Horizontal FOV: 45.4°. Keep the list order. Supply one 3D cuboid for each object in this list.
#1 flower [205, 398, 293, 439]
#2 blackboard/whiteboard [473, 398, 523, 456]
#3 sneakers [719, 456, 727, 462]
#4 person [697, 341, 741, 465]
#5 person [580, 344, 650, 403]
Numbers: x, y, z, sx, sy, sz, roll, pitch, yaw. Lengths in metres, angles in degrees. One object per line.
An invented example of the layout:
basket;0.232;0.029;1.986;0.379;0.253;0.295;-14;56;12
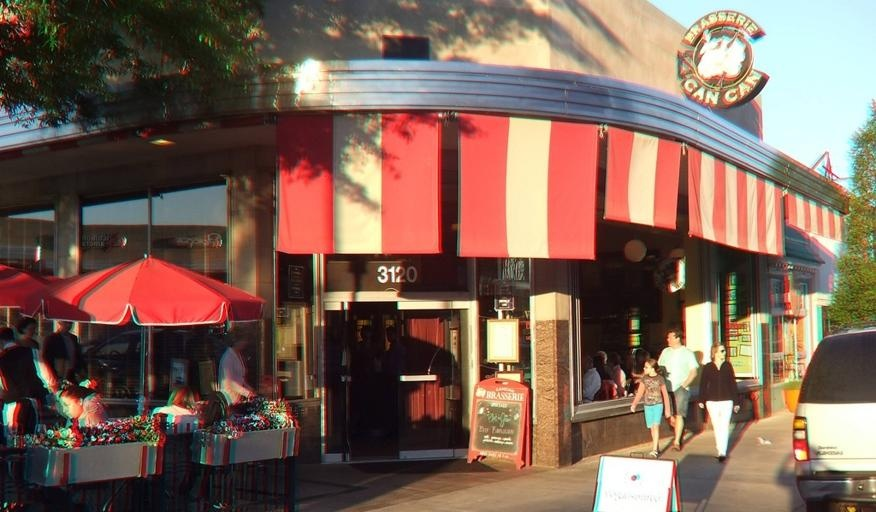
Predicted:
flower;-3.351;2.955;18.979;0.769;0.470;1.012;-10;-10;42
blackboard/whiteboard;1.281;3.592;21.770;1.019;1.169;0.109;3;-3;8
sneakers;6.001;4.277;22.114;0.110;0.092;0.114;0;-7;0
person;5.960;3.098;22.219;0.776;2.449;0.338;-4;-7;16
person;3.970;2.702;23.705;0.923;0.736;2.311;6;31;33
